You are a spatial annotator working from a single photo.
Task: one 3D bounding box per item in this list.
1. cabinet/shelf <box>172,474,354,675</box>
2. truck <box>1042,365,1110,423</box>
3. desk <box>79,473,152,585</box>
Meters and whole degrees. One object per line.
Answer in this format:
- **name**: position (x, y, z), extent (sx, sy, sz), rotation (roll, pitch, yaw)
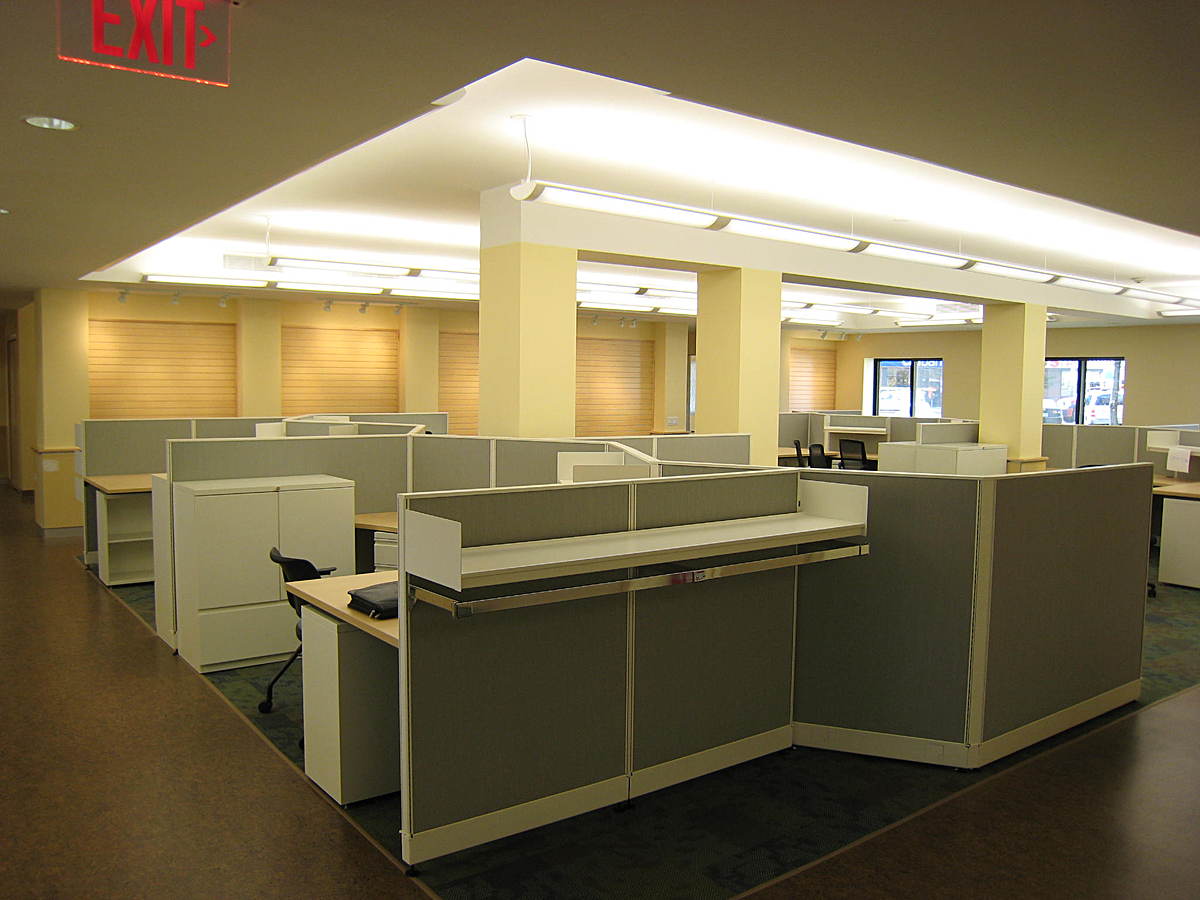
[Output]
- **cabinet/shelf**: position (-2.139, 0.799, 5.674), extent (1.210, 1.422, 0.538), rotation (-3, 5, -34)
- **truck**: position (8.241, -0.977, 15.692), extent (0.110, 1.056, 1.038), rotation (-5, 10, -31)
- **desk**: position (-4.346, 0.734, 8.188), extent (0.740, 0.881, 0.922), rotation (-1, 2, -36)
